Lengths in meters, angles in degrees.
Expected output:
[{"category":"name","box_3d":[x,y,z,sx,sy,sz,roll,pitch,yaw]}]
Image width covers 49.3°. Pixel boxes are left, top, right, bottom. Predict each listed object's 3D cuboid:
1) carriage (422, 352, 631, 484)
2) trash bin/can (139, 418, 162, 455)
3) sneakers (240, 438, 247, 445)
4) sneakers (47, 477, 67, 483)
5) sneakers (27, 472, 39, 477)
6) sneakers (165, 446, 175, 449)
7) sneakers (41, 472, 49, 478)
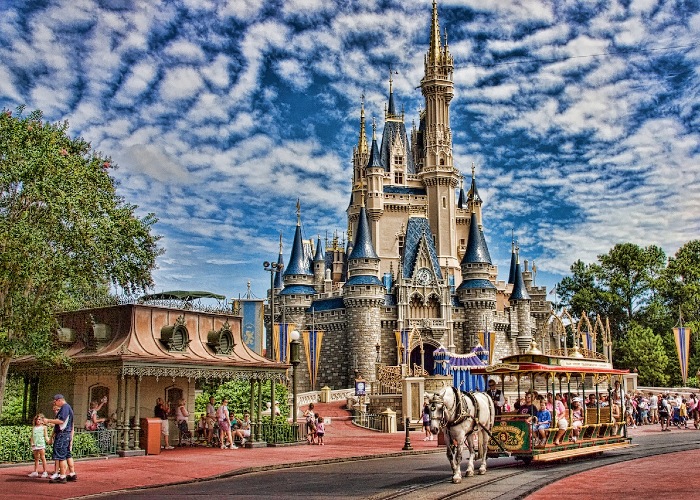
[{"category":"carriage","box_3d":[5.876,5.361,24.920,8.544,3.303,2.987,6,-12,-41]},{"category":"trash bin/can","box_3d":[-7.159,6.512,26.908,0.739,1.190,0.764,4,-7,-34]},{"category":"sneakers","box_3d":[-4.287,7.584,30.189,0.177,0.123,0.414,26,0,0]},{"category":"sneakers","box_3d":[-8.026,6.232,20.667,0.407,0.158,0.149,4,-20,-2]},{"category":"sneakers","box_3d":[-9.015,6.322,21.508,0.257,0.110,0.151,3,-26,-1]},{"category":"sneakers","box_3d":[-6.806,7.391,28.520,0.179,0.138,0.332,-2,-6,30]},{"category":"sneakers","box_3d":[-8.620,6.267,21.287,0.160,0.169,0.292,6,-18,-22]}]
